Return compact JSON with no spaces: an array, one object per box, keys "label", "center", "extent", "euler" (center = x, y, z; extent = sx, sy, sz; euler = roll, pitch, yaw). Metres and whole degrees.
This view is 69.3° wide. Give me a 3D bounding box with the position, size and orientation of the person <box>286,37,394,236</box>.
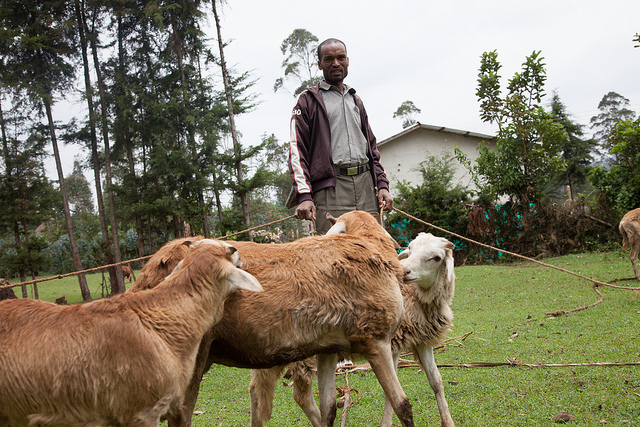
[{"label":"person","center":[0.209,-1.127,6.544],"extent":[1.454,2.737,0.777],"euler":[-8,8,-12]}]
